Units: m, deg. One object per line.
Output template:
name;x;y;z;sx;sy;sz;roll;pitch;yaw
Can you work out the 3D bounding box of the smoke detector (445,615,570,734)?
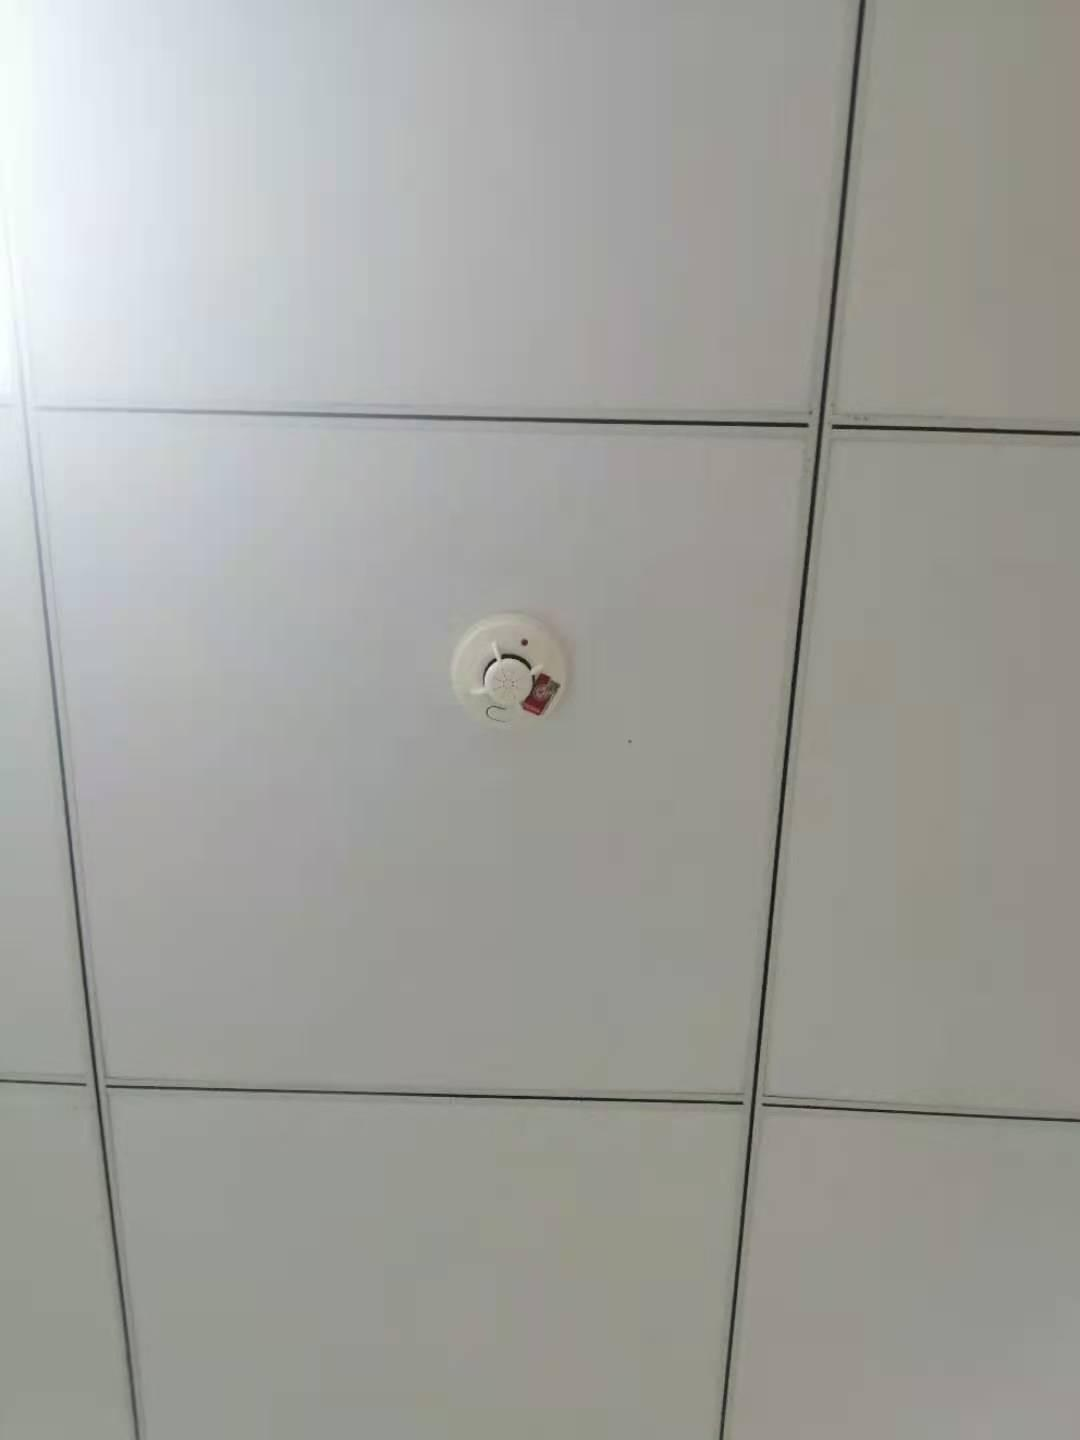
smoke detector;-0.031;-0.053;1.601;0.121;0.042;0.108;-2;-72;3
